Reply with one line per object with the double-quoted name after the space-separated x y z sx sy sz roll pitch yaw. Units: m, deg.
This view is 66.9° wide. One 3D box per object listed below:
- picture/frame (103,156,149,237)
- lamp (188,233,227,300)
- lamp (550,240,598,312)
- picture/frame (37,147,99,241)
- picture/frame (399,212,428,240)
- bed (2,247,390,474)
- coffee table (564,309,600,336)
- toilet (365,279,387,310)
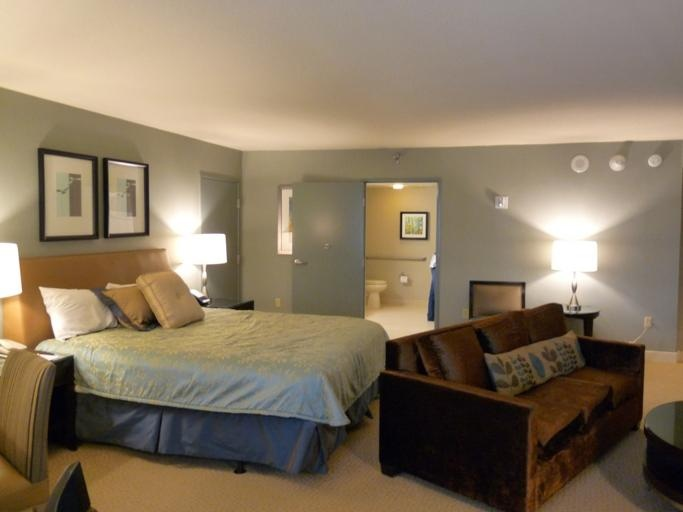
-2.237 -0.599 5.364 0.059 0.749 0.580 6 7 20 "picture/frame"
-1.653 0.117 6.271 0.465 0.809 0.450 1 16 -41 "lamp"
2.692 0.208 6.001 0.504 0.795 0.808 0 3 26 "lamp"
-2.556 -0.582 4.779 0.065 1.062 0.828 2 3 22 "picture/frame"
1.366 -0.582 9.618 0.461 0.480 0.049 2 9 16 "picture/frame"
-1.050 0.891 4.298 2.245 1.246 1.816 1 6 18 "bed"
2.698 0.689 5.770 0.385 0.431 0.403 -2 5 28 "coffee table"
0.579 0.706 9.302 0.435 0.547 0.442 -1 0 15 "toilet"
